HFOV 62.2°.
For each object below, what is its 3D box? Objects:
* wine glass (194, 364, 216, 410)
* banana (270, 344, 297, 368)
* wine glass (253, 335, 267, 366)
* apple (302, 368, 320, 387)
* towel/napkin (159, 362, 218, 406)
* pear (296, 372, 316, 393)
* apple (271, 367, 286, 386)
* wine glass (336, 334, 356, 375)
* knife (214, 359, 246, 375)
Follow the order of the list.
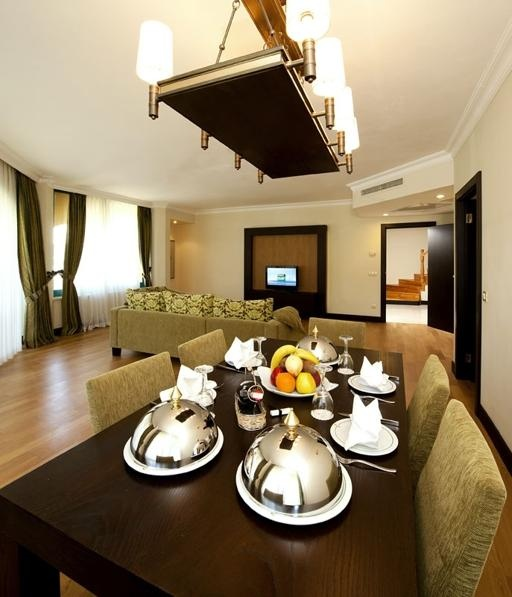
[{"bbox_3d":[-0.193,0.339,1.620,0.086,0.144,0.103,0,2,17],"label":"wine glass"},{"bbox_3d":[0.111,0.237,1.689,0.031,0.081,0.123,-11,-24,-45],"label":"banana"},{"bbox_3d":[0.021,0.253,2.005,0.069,0.201,0.102,-1,3,0],"label":"wine glass"},{"bbox_3d":[0.212,0.289,1.621,0.047,0.082,0.056,3,10,23],"label":"apple"},{"bbox_3d":[-0.220,0.324,1.621,0.118,0.079,0.176,4,2,10],"label":"towel/napkin"},{"bbox_3d":[0.188,0.318,1.623,0.052,0.077,0.082,-5,-38,-18],"label":"pear"},{"bbox_3d":[0.096,0.299,1.679,0.049,0.062,0.060,-7,32,31],"label":"apple"},{"bbox_3d":[0.456,0.282,2.130,0.094,0.246,0.095,-5,8,-29],"label":"wine glass"},{"bbox_3d":[-0.112,0.317,1.937,0.087,0.030,0.025,22,29,28],"label":"knife"}]
